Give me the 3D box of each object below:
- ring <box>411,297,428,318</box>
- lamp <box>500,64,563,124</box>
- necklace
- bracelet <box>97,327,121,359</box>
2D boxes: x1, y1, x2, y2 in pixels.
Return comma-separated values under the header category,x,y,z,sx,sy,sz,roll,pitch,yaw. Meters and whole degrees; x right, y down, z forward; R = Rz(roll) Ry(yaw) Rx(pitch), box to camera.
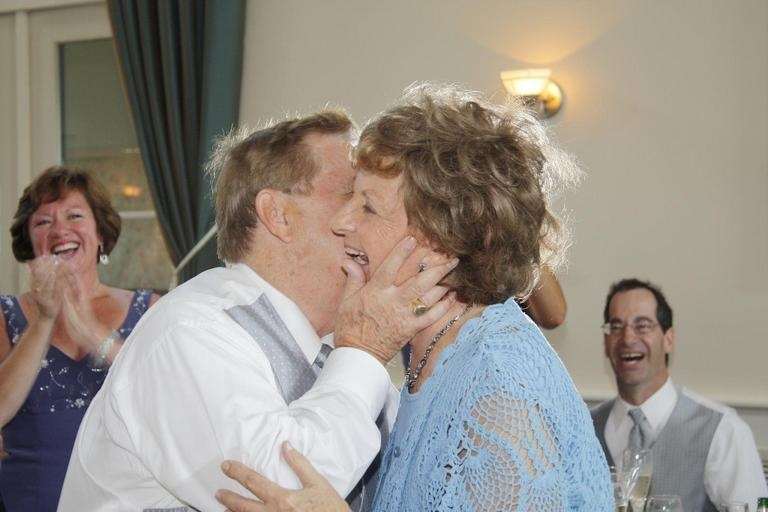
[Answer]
category,x,y,z,sx,sy,sz,roll,pitch,yaw
ring,0.125,0.178,3.057,0.049,0.060,0.019,0,15,-11
lamp,0.847,-0.913,4.959,0.282,0.300,0.236,-1,1,26
necklace,0.187,0.321,3.086,0.083,0.296,0.216,27,16,-2
bracelet,-1.292,0.410,4.121,0.030,0.122,0.062,39,-11,-17
